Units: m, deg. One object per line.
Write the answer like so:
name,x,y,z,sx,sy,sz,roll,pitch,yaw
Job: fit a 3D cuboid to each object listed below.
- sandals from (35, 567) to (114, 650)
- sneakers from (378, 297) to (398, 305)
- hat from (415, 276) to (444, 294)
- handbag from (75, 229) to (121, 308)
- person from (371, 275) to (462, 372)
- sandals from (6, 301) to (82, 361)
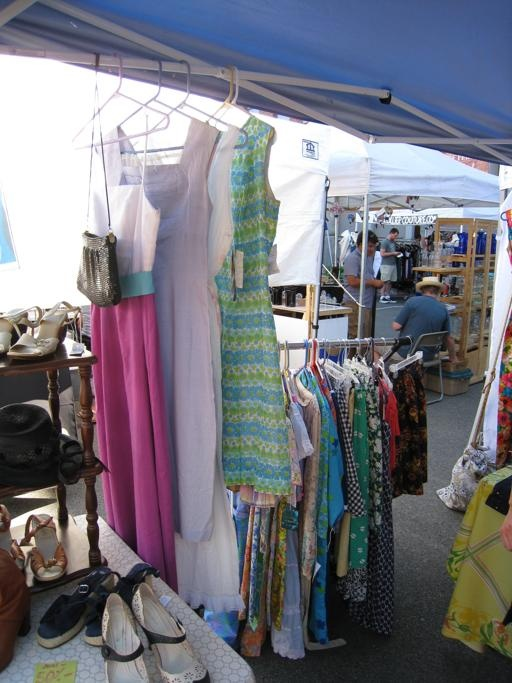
sandals,-0.479,0.707,1.406,0.106,0.070,0.209,11,30,22
sneakers,3.508,-1.069,13.883,0.560,0.254,0.188,0,11,-22
hat,1.864,-0.640,5.621,0.243,0.103,0.282,4,-24,15
handbag,-0.432,-0.196,1.433,0.144,0.198,0.042,10,14,34
person,1.745,-0.166,5.395,0.597,0.892,1.188,6,12,20
sandals,-0.624,-0.019,1.519,0.095,0.076,0.269,1,28,0
